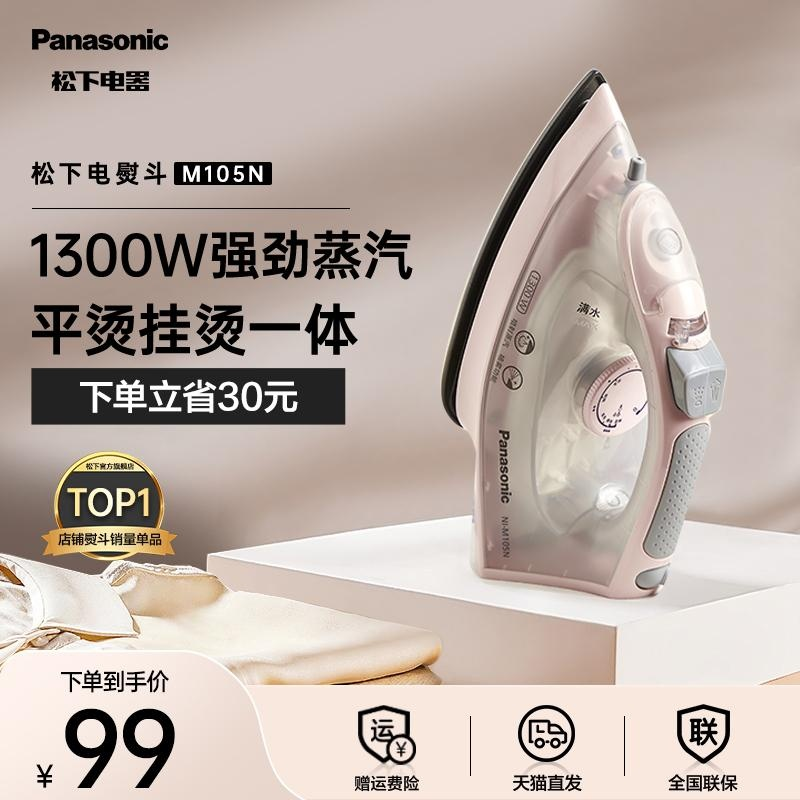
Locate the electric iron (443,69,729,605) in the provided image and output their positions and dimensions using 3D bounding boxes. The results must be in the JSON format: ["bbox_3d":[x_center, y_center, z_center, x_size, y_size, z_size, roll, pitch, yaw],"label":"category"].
[{"bbox_3d":[0.136,-0.043,0.673,0.164,0.390,0.204,7,-16,-17],"label":"electric iron"}]
